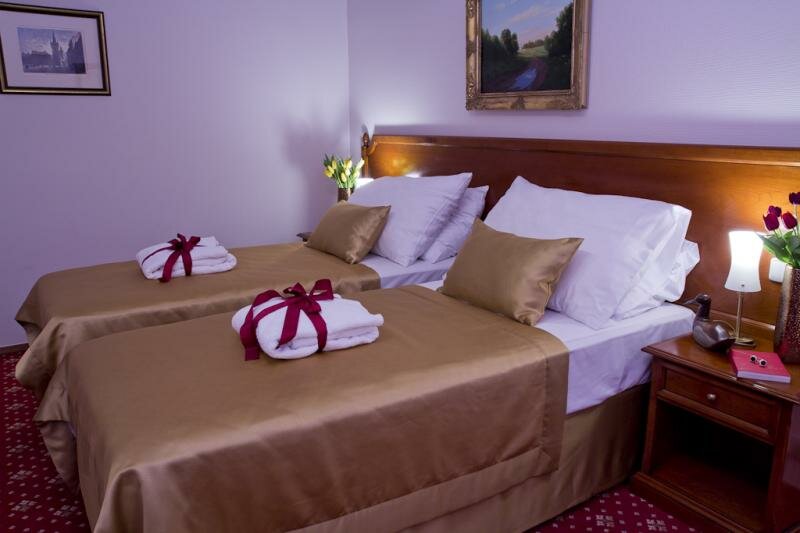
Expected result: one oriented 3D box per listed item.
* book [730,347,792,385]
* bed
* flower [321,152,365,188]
[{"bbox_3d":[1.619,0.441,2.425,0.213,0.066,0.212,7,21,16],"label":"book"},{"bbox_3d":[-0.812,0.492,3.172,2.081,0.514,2.060,-4,12,-32],"label":"bed"},{"bbox_3d":[-0.536,-0.853,4.861,0.382,0.411,0.359,-3,11,-35],"label":"flower"}]
